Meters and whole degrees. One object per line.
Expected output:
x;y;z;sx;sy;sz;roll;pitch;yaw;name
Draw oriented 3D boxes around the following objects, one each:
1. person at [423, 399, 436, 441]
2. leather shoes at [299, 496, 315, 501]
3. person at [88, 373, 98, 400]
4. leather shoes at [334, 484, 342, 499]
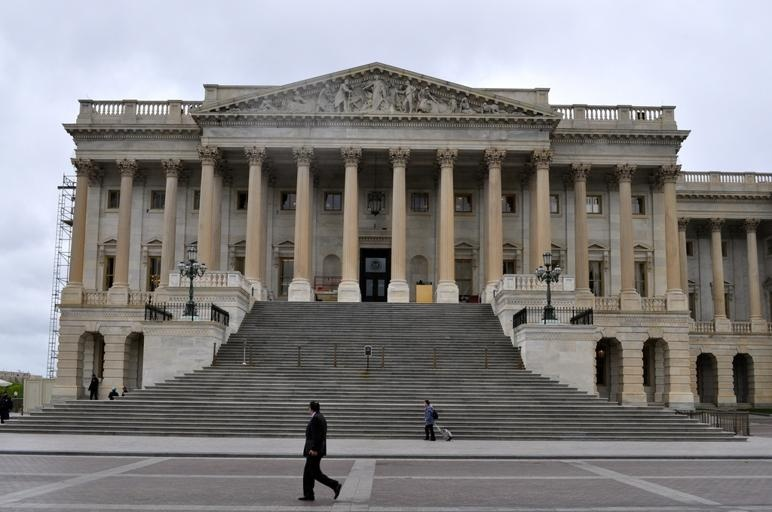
2.077;7.871;46.089;0.486;1.889;1.125;0;-10;3;person
-2.859;8.669;34.343;0.590;0.230;0.191;6;-13;3;leather shoes
-19.216;8.574;62.651;0.450;1.454;1.871;4;-10;-18;person
-1.751;8.382;34.264;0.215;0.596;0.261;9;-3;17;leather shoes
